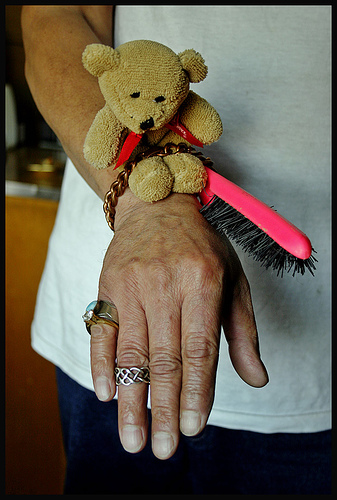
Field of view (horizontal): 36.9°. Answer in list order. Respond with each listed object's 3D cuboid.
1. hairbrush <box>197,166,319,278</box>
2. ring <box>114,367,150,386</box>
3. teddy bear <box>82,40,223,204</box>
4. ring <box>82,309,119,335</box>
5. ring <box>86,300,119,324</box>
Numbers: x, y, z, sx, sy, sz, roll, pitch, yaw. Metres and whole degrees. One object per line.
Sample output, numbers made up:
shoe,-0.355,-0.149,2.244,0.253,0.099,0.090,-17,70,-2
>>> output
hairbrush,0.067,-0.028,0.541,0.162,0.056,0.064,41,25,21
ring,-0.032,0.112,0.447,0.030,0.020,0.013,-1,31,-1
teddy bear,-0.016,-0.127,0.479,0.133,0.136,0.101,-8,54,-7
ring,-0.061,0.064,0.483,0.030,0.025,0.017,27,57,-6
ring,-0.060,0.057,0.470,0.033,0.015,0.018,4,31,8
